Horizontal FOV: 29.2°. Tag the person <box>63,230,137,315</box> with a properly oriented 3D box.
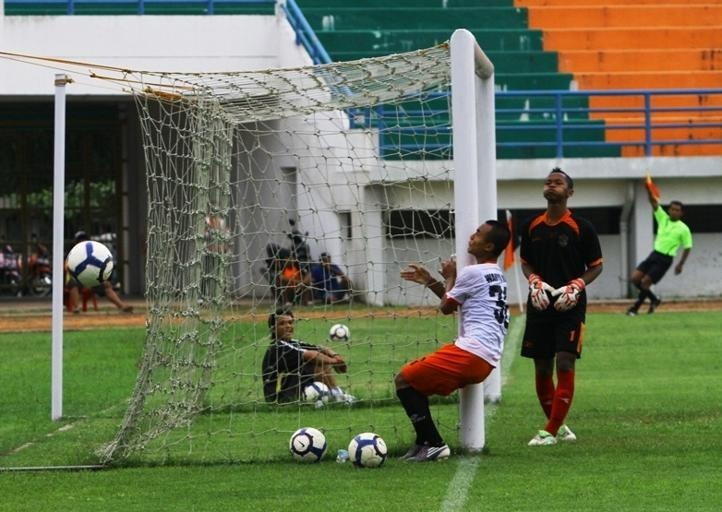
[{"bbox_3d":[-5.262,0.417,27.014,1.393,1.426,0.606,-11,16,-2],"label":"person"}]

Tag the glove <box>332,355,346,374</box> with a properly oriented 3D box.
[{"bbox_3d":[-0.320,1.547,20.001,0.186,0.236,0.144,-1,1,1],"label":"glove"}]

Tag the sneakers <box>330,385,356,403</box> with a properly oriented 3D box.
[{"bbox_3d":[-0.268,1.994,20.207,0.310,0.135,0.205,6,4,22],"label":"sneakers"}]

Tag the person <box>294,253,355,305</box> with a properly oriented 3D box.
[{"bbox_3d":[-0.536,0.335,23.070,0.693,0.979,0.680,-12,-20,16],"label":"person"}]

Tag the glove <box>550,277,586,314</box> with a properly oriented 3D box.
[{"bbox_3d":[2.795,0.522,18.621,0.306,0.472,0.195,18,-1,-20],"label":"glove"}]

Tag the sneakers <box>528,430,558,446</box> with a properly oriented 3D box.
[{"bbox_3d":[2.450,2.432,18.690,0.358,0.158,0.187,2,-7,1],"label":"sneakers"}]

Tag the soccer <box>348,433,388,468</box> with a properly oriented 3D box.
[{"bbox_3d":[0.073,2.561,18.401,0.452,0.447,0.435,-11,-33,-25],"label":"soccer"}]

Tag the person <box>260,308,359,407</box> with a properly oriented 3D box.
[{"bbox_3d":[-0.748,1.509,20.579,1.514,1.544,1.076,0,-3,-5],"label":"person"}]

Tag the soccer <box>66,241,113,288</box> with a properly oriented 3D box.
[{"bbox_3d":[-4.092,0.134,20.773,0.586,0.509,0.505,25,29,-18],"label":"soccer"}]

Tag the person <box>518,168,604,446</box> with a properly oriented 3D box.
[{"bbox_3d":[2.689,0.657,18.823,1.049,3.735,0.534,0,1,5],"label":"person"}]

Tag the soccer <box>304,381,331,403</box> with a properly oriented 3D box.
[{"bbox_3d":[-0.660,1.957,20.109,0.270,0.286,0.287,24,-2,25],"label":"soccer"}]

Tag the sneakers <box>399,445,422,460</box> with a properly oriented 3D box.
[{"bbox_3d":[0.672,2.601,18.510,0.383,0.164,0.131,-18,-12,-2],"label":"sneakers"}]

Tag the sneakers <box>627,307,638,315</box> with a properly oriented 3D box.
[{"bbox_3d":[4.874,0.978,24.951,0.171,0.145,0.337,0,0,14],"label":"sneakers"}]

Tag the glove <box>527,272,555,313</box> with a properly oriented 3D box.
[{"bbox_3d":[2.403,0.461,18.721,0.191,0.418,0.350,-5,-35,-2],"label":"glove"}]

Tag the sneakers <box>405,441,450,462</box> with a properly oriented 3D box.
[{"bbox_3d":[0.863,2.566,18.387,0.639,0.280,0.234,-1,-12,0],"label":"sneakers"}]

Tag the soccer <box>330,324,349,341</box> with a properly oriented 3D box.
[{"bbox_3d":[-0.366,1.187,22.221,0.261,0.295,0.254,4,30,-13],"label":"soccer"}]
